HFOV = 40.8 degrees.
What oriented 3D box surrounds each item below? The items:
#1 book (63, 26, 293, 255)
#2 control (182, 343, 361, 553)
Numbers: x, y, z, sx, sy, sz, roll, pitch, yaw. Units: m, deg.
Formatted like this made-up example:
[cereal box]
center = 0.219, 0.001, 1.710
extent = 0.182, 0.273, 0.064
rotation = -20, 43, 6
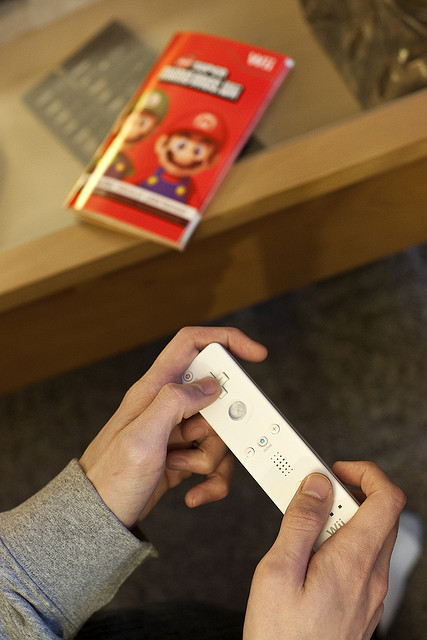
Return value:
[book]
center = -0.036, -0.196, 0.629
extent = 0.185, 0.037, 0.329
rotation = 25, 74, 23
[control]
center = 0.048, 0.108, 0.611
extent = 0.086, 0.030, 0.283
rotation = -43, 70, 9
